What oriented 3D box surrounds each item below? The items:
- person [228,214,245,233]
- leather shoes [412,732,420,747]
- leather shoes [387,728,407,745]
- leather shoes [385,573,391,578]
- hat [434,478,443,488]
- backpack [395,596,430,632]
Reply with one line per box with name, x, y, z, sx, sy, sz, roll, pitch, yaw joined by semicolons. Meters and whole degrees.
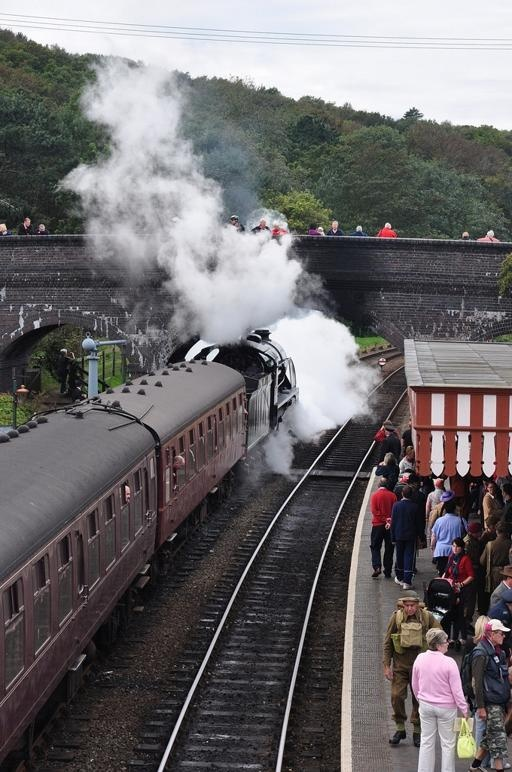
person;-0.687;-5.505;28.200;0.492;0.621;1.374;-2;1;7
leather shoes;1.331;2.928;6.909;0.038;0.056;0.127;-1;0;2
leather shoes;1.180;2.913;6.953;0.071;0.091;0.208;-9;-4;24
leather shoes;1.962;2.818;12.428;0.086;0.032;0.122;0;0;3
hat;2.767;1.476;12.622;0.147;0.079;0.214;0;12;-1
backpack;1.273;1.768;6.575;0.212;0.309;0.296;1;-3;-18
